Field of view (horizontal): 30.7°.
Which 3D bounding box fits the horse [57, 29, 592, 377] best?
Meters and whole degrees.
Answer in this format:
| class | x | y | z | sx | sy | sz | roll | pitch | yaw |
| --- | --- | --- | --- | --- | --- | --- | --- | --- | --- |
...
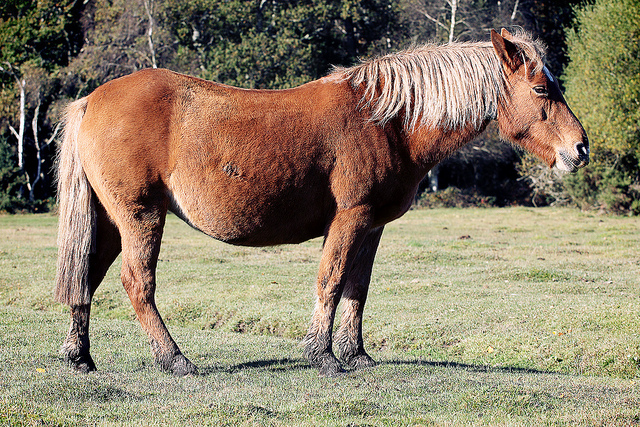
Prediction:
| class | x | y | z | sx | sy | sz | roll | pitch | yaw |
| --- | --- | --- | --- | --- | --- | --- | --- | --- | --- |
| horse | 0.288 | -0.024 | 32.477 | 10.697 | 7.743 | 3.359 | 0 | -2 | 3 |
